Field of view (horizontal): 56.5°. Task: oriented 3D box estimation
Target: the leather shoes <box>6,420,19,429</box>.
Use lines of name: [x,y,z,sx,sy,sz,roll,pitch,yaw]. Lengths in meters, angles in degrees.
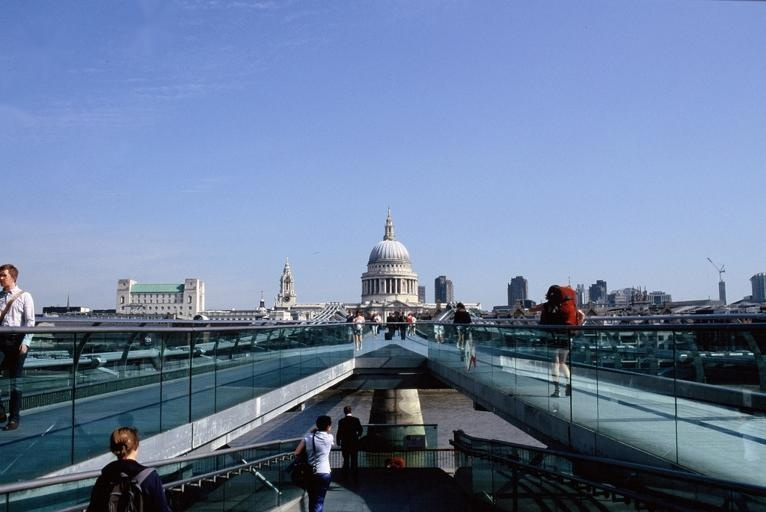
leather shoes: [-4.196,1.917,8.095,0.044,0.107,0.157,-3,-6,19]
